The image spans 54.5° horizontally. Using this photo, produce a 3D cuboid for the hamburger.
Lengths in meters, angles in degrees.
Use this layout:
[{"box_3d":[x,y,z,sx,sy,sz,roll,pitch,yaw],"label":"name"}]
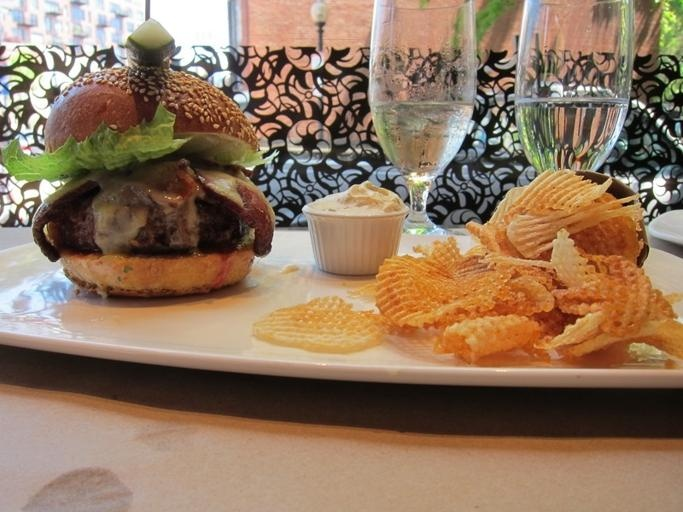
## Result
[{"box_3d":[-0.326,-0.116,1.260,0.349,0.400,0.426,5,9,39],"label":"hamburger"}]
